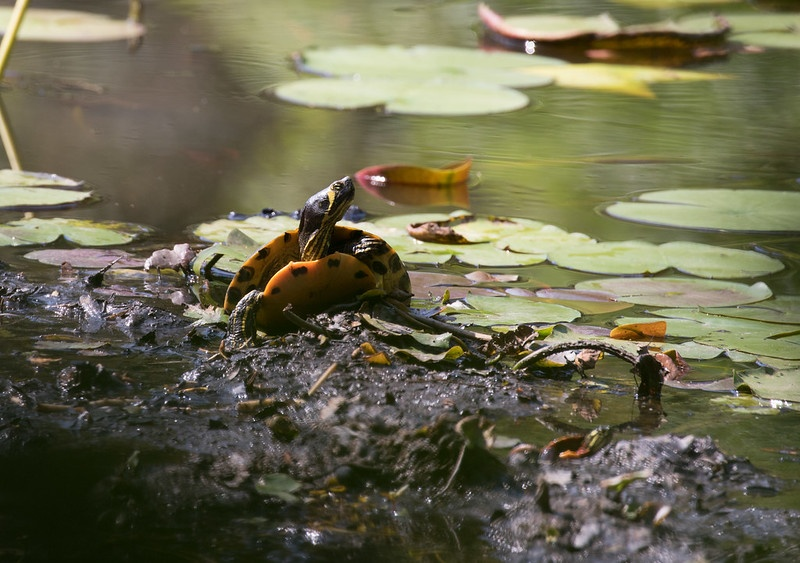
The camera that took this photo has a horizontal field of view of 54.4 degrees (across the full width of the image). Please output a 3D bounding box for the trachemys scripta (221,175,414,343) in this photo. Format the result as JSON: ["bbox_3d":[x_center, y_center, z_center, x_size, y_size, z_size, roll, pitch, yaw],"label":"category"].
[{"bbox_3d":[-0.595,-0.045,3.655,0.990,0.937,0.265,-12,71,-28],"label":"trachemys scripta"}]
